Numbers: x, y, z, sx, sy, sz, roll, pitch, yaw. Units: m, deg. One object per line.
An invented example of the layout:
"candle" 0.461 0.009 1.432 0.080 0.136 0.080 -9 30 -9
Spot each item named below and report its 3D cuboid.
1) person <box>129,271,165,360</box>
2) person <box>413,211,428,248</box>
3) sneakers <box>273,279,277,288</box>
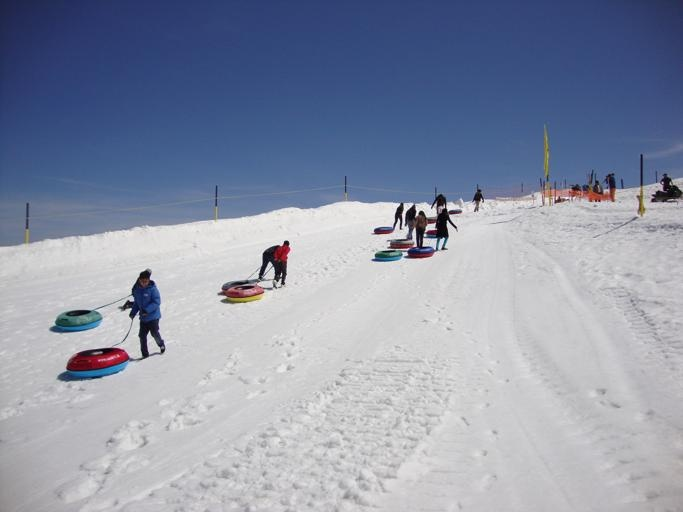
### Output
"person" -4.816 1.434 12.005 0.675 2.200 0.649 -4 4 -21
"person" 3.066 -1.050 18.783 0.403 1.403 1.049 -2 3 8
"sneakers" -2.315 0.939 16.642 0.095 0.264 0.190 -1 -14 4
